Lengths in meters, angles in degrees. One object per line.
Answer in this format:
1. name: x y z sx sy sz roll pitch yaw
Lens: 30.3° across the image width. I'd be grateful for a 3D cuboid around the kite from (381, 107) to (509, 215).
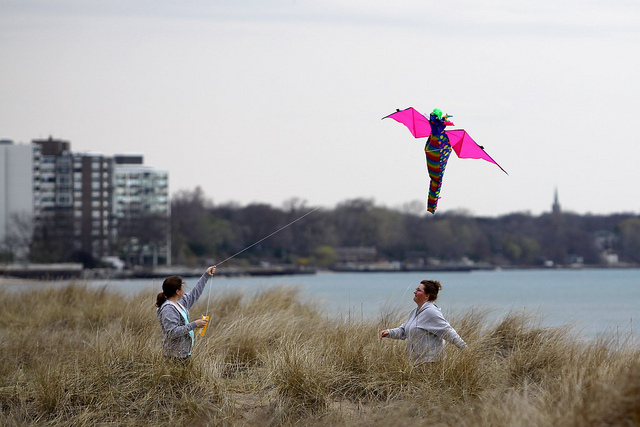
1. kite: 3.148 -1.699 31.271 3.716 2.967 1.200 14 -3 1
